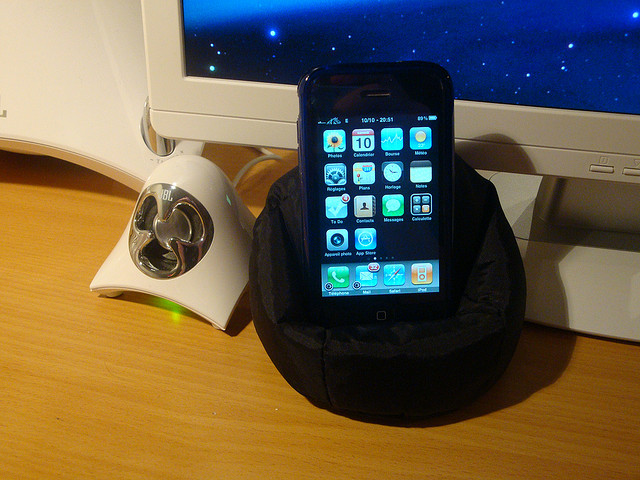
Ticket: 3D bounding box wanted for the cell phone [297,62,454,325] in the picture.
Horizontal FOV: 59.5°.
[{"bbox_3d":[0.047,-0.036,0.447,0.126,0.129,0.163,-3,59,3],"label":"cell phone"}]
